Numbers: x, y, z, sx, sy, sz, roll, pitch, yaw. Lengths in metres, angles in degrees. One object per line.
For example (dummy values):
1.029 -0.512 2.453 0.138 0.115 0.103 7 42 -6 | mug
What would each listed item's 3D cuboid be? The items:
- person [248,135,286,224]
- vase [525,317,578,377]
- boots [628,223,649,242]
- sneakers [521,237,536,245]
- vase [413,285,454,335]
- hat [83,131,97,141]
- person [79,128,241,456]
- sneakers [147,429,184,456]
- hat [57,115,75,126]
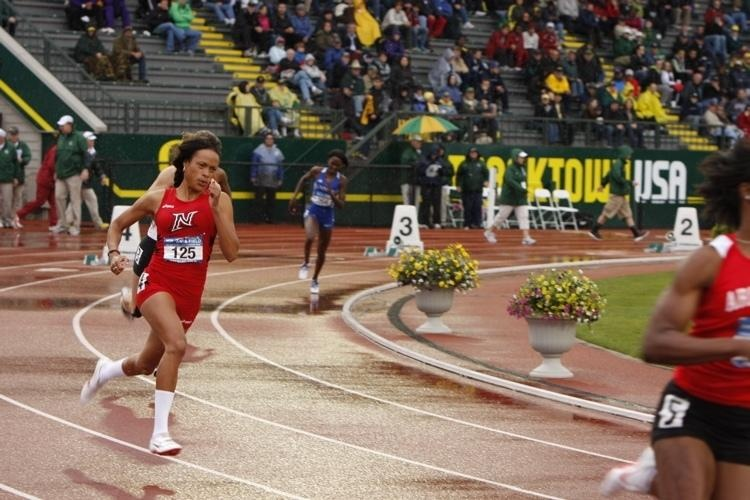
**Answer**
-3.197 -2.089 28.537 0.979 2.603 0.466 1 8 -13 | person
2.274 1.286 12.392 0.811 0.754 0.764 -5 -12 27 | vase
8.235 -0.510 29.906 0.546 0.521 0.262 -28 22 33 | boots
4.363 -0.237 27.232 0.216 0.161 0.347 -5 -1 -15 | sneakers
0.928 0.933 14.847 0.789 0.687 0.755 6 -6 -15 | vase
-7.408 -2.933 24.606 0.472 0.219 0.351 11 12 38 | hat
-2.086 0.400 9.429 1.165 3.108 0.967 7 9 29 | person
-1.984 1.842 9.066 0.191 0.142 0.327 -1 -4 -30 | sneakers
-7.828 -3.229 24.131 0.317 0.212 0.294 4 8 10 | hat
